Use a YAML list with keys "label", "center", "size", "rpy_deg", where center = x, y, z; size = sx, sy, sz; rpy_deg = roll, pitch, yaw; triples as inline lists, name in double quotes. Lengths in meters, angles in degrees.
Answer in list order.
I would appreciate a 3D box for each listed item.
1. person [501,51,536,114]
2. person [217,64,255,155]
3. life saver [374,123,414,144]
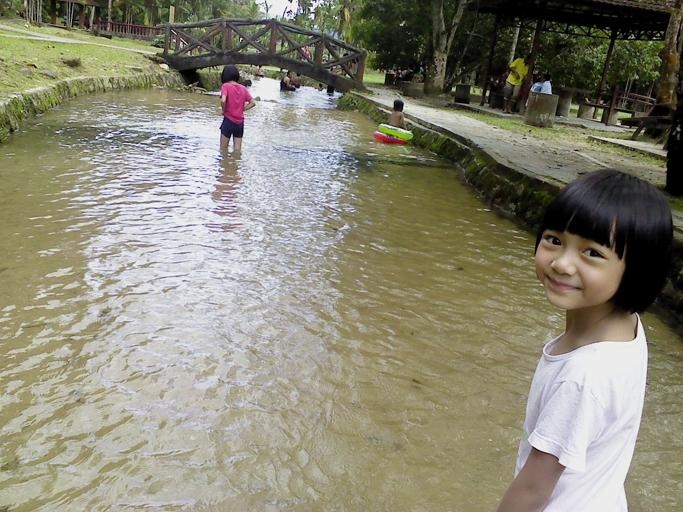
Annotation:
- label: "person"
  center: [7.014, -7.024, 21.057]
  size: [0.848, 2.275, 0.908]
  rpy_deg: [18, 8, 0]
- label: "person"
  center: [-2.110, -2.937, 10.569]
  size: [0.660, 1.716, 1.257]
  rpy_deg: [3, 21, -13]
- label: "life saver"
  center: [1.481, -3.451, 14.861]
  size: [0.977, 0.488, 0.688]
  rpy_deg: [6, 20, -3]
